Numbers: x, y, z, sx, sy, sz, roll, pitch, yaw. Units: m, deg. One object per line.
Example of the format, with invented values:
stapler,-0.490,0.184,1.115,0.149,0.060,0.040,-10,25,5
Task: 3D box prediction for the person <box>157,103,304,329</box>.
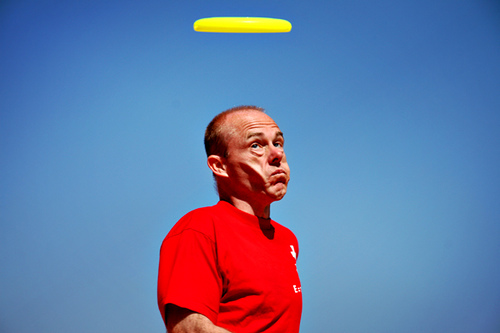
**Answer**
person,-0.089,0.201,3.384,0.607,0.895,0.290,-2,-21,-16
